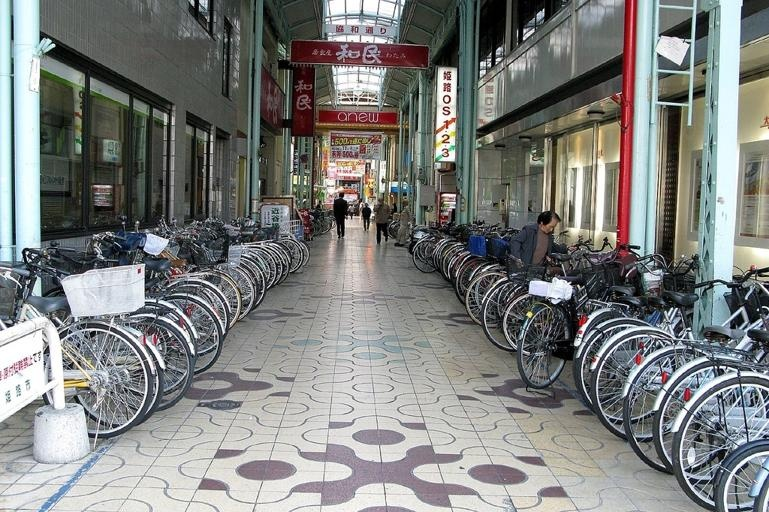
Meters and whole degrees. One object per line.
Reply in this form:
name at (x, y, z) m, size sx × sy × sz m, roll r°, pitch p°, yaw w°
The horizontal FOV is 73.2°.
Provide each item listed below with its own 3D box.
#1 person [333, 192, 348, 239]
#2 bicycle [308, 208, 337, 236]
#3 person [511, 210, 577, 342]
person at (-2.159, -2.062, 25.805) m, size 0.719 × 2.226 × 0.659 m, roll 3°, pitch 4°, yaw 14°
bicycle at (-3.433, -1.840, 28.707) m, size 1.941 × 1.114 × 0.931 m, roll -12°, pitch 16°, yaw -37°
person at (2.024, 0.115, 7.134) m, size 0.728 × 1.684 × 0.639 m, roll 11°, pitch 26°, yaw 6°
